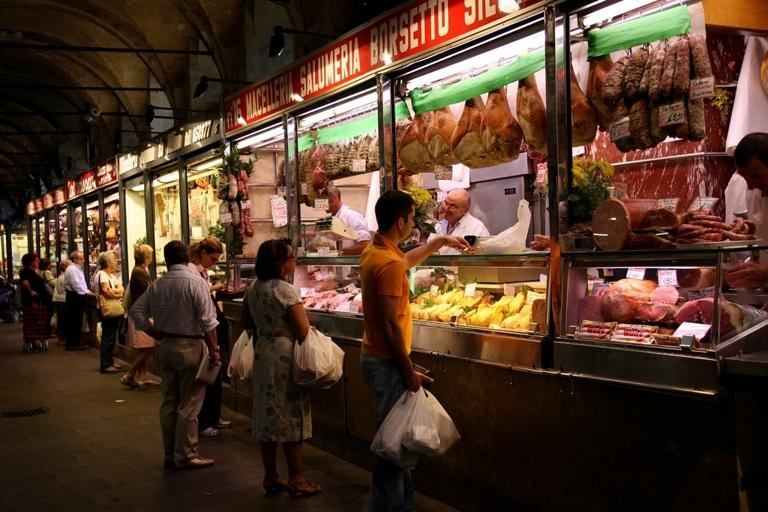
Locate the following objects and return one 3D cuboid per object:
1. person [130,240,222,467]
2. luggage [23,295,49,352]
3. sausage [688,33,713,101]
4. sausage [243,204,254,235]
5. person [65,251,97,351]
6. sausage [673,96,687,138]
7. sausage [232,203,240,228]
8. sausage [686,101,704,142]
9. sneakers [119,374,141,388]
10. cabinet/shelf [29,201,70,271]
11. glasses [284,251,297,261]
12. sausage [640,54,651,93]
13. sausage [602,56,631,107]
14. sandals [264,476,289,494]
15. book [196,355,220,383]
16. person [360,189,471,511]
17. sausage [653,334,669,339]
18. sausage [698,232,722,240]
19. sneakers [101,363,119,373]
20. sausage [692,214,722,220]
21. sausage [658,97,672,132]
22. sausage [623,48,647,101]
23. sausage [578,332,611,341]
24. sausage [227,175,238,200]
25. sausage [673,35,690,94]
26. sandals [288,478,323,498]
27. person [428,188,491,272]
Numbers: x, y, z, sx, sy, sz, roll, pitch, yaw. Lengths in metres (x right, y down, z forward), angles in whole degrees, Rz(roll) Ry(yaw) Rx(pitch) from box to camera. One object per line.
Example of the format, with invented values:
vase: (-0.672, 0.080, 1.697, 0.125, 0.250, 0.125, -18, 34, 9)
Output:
person: (-2.035, 0.957, 5.694, 0.877, 2.150, 0.503, -4, -5, 9)
luggage: (-7.526, 1.319, 12.432, 0.585, 0.897, 0.587, 36, 28, 33)
sausage: (2.063, -1.194, 3.728, 0.118, 0.482, 0.131, -3, -7, 2)
sausage: (-1.934, -0.504, 8.229, 0.118, 0.446, 0.142, -2, -2, 3)
person: (-6.752, 0.975, 12.729, 0.566, 1.794, 1.316, -3, 2, -29)
sausage: (1.960, -0.897, 3.804, 0.087, 0.241, 0.157, -1, 2, 26)
sausage: (-2.112, -0.590, 8.180, 0.134, 0.280, 0.090, -6, -6, -17)
sausage: (2.031, -0.886, 3.784, 0.084, 0.317, 0.084, 0, -2, -18)
sneakers: (-3.911, 1.898, 8.883, 0.193, 0.224, 0.568, 4, -6, -40)
cabinet/shelf: (-11.571, -0.317, 19.589, 1.264, 2.320, 1.245, -3, 7, -32)
glasses: (-0.816, 0.009, 4.976, 0.056, 0.085, 0.112, -16, 0, 14)
sausage: (1.759, -1.202, 3.876, 0.058, 0.273, 0.073, 7, -6, -16)
sausage: (1.607, -1.196, 4.024, 0.114, 0.351, 0.177, 18, -17, -10)
sandals: (-0.930, 1.980, 4.971, 0.223, 0.090, 0.117, -4, 7, -9)
book: (-1.699, 1.074, 5.551, 0.057, 0.244, 0.230, 5, -19, 42)
person: (0.132, 0.649, 4.024, 0.481, 2.179, 0.640, -1, 2, 35)
sausage: (1.774, 0.514, 3.681, 0.089, 0.027, 0.036, -1, 2, 34)
sausage: (2.043, -0.124, 3.593, 0.145, 0.066, 0.072, -2, 2, -13)
sneakers: (-4.750, 1.938, 9.979, 0.282, 0.140, 0.413, -3, 2, -30)
sausage: (2.072, -0.241, 3.680, 0.164, 0.043, 0.065, -2, 2, -10)
sausage: (1.857, -0.924, 3.796, 0.048, 0.155, 0.088, -2, 2, -16)
sausage: (1.705, -1.233, 3.971, 0.117, 0.335, 0.191, 8, -7, 1)
sausage: (1.434, 0.551, 3.947, 0.212, 0.045, 0.025, 0, 2, 43)
sausage: (-2.125, -0.955, 8.097, 0.146, 0.294, 0.101, 2, -10, -14)
sausage: (1.923, -1.238, 3.792, 0.106, 0.381, 0.094, 6, -15, -22)
sandals: (-0.679, 1.975, 4.960, 0.251, 0.114, 0.135, -2, 1, -13)
person: (0.816, -0.305, 6.265, 0.415, 0.787, 0.774, -5, 16, -42)
